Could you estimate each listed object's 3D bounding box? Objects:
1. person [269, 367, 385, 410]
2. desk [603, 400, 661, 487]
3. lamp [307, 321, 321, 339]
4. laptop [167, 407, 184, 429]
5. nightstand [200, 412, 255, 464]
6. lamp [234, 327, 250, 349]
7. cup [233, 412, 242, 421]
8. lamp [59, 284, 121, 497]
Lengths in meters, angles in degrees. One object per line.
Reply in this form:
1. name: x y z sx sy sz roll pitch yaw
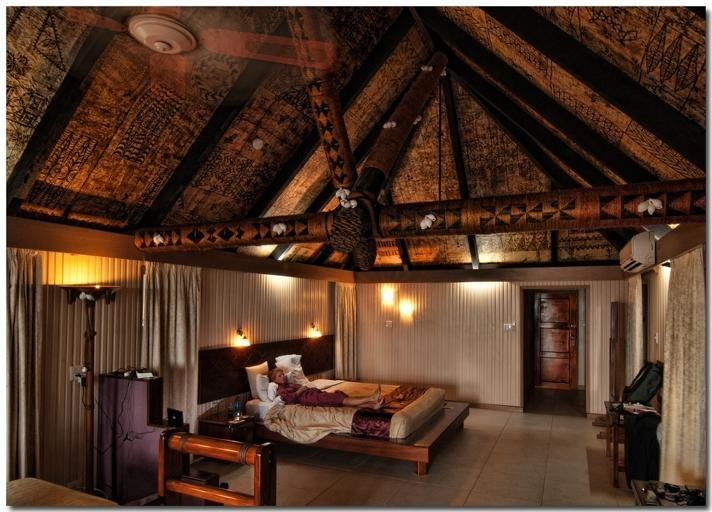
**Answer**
1. person: -0.528 2.019 8.031 1.514 0.489 0.648 -1 -5 19
2. desk: 3.463 2.347 6.468 0.557 0.692 1.070 -1 -3 21
3. lamp: -0.811 1.470 10.400 0.128 0.332 0.494 0 -1 21
4. laptop: -2.190 1.954 6.270 0.183 0.254 0.339 0 -1 -21
5. nightstand: -1.913 2.555 7.546 0.793 0.436 0.670 0 -1 0
6. lamp: -1.874 1.329 8.458 0.086 0.325 0.331 0 -1 30
7. cup: -1.739 2.339 7.570 0.103 0.098 0.105 2 -6 0
8. lamp: -3.233 1.624 6.269 0.586 2.570 0.650 0 0 -29
